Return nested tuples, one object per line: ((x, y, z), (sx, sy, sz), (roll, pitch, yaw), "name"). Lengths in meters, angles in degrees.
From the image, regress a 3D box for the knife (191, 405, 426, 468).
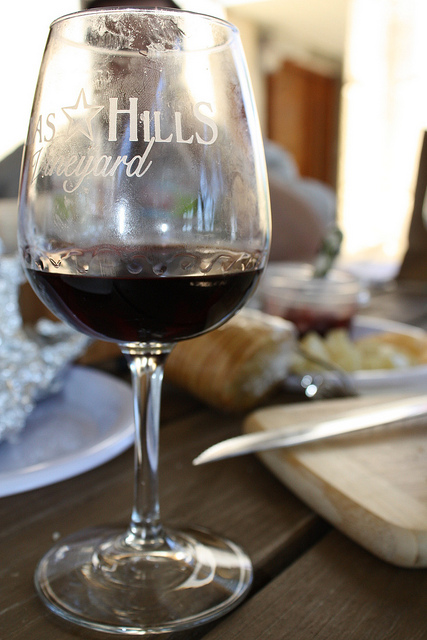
((0.066, 0.075, 0.390), (0.168, 0.007, 0.021), (-5, 18, -10), "knife")
